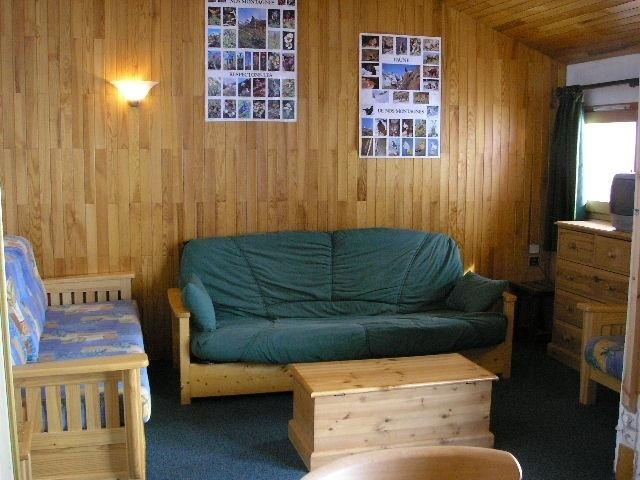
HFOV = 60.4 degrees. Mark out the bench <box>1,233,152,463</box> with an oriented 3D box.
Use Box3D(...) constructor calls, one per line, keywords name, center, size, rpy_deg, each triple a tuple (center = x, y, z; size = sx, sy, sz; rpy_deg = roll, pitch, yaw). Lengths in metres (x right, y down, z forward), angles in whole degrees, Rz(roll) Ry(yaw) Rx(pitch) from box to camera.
Box3D(name="bench", center=(-1.429, 0.595, 3.162), size=(0.662, 0.679, 1.140), rpy_deg=(-4, 17, -17))
